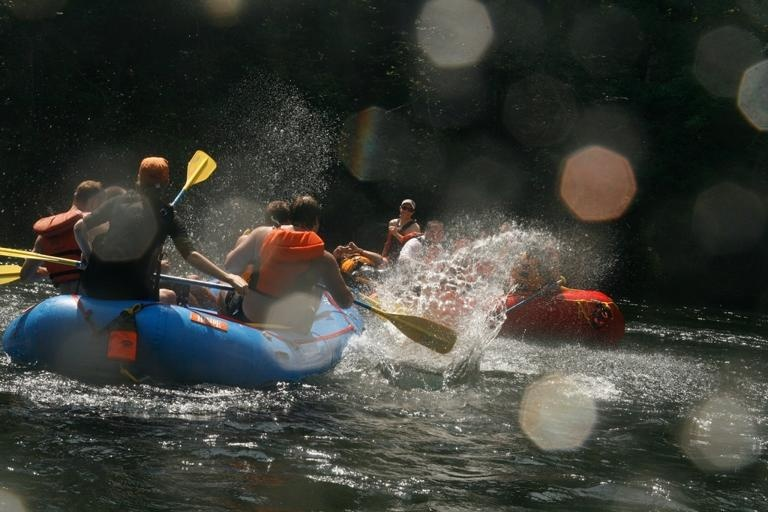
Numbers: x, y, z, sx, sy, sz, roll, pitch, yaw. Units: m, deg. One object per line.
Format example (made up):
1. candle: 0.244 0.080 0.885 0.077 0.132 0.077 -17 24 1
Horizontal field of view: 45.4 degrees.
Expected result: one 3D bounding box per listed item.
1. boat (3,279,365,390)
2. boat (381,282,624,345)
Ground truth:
1. boat: -3.376 1.459 15.313 3.867 0.717 2.298 10 8 -17
2. boat: 3.043 1.248 18.170 3.117 0.914 1.477 2 5 15
